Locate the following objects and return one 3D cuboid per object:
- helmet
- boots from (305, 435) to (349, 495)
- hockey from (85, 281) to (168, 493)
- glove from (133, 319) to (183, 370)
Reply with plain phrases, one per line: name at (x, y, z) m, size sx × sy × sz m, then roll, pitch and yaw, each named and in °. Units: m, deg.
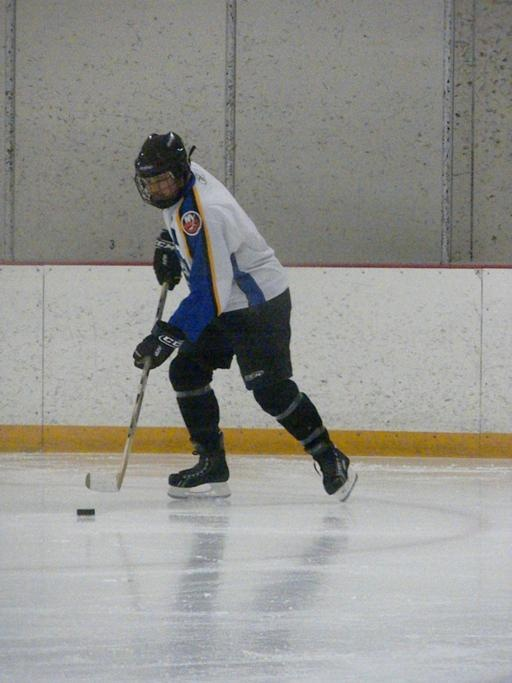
helmet at (-0.267, -0.484, 2.924) m, size 0.147 × 0.151 × 0.165 m, roll -3°, pitch 63°, yaw -4°
boots at (0.226, 0.341, 3.042) m, size 0.162 × 0.077 × 0.225 m, roll 41°, pitch 19°, yaw -10°
hockey at (-0.479, 0.186, 3.846) m, size 0.232 × 0.966 × 0.104 m, roll 11°, pitch 45°, yaw -15°
glove at (-0.301, 0.038, 2.976) m, size 0.099 × 0.107 × 0.133 m, roll 1°, pitch 67°, yaw 38°
